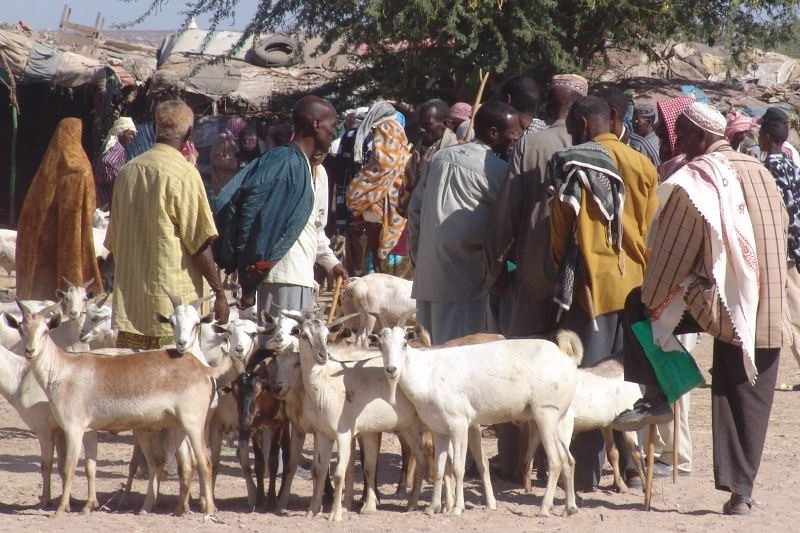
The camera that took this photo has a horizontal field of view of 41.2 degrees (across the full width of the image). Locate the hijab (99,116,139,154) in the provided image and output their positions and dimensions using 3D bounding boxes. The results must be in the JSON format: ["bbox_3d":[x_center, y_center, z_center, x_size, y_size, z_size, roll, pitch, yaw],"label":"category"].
[{"bbox_3d":[-4.247,-2.018,16.035,0.558,0.618,0.545,6,9,-5],"label":"hijab"}]
